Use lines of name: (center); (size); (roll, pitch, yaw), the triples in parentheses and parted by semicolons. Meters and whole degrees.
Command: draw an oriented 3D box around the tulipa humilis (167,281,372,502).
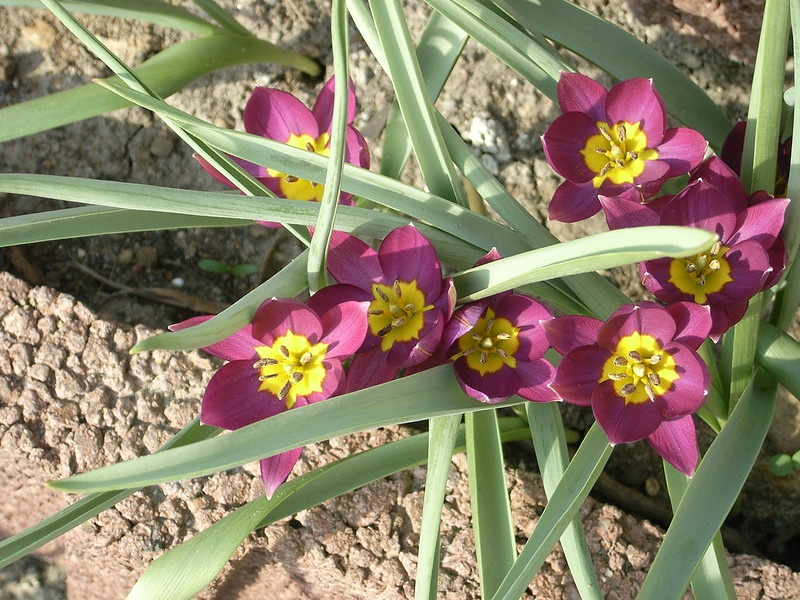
tulipa humilis: (-0.223, 0.069, 1.820); (0.399, 0.253, 0.557); (13, 38, 9)

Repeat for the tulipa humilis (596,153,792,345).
tulipa humilis: (0.630, -0.126, 1.861); (0.382, 0.344, 0.248); (5, 23, -27)

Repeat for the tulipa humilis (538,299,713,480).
tulipa humilis: (0.507, 0.134, 1.799); (0.343, 0.362, 0.165); (22, 22, 13)

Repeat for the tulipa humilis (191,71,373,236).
tulipa humilis: (-0.265, -0.329, 2.128); (0.324, 0.408, 0.192); (40, 9, 23)

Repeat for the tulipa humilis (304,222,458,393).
tulipa humilis: (-0.041, 0.005, 1.806); (0.300, 0.165, 0.386); (-18, 47, 15)
